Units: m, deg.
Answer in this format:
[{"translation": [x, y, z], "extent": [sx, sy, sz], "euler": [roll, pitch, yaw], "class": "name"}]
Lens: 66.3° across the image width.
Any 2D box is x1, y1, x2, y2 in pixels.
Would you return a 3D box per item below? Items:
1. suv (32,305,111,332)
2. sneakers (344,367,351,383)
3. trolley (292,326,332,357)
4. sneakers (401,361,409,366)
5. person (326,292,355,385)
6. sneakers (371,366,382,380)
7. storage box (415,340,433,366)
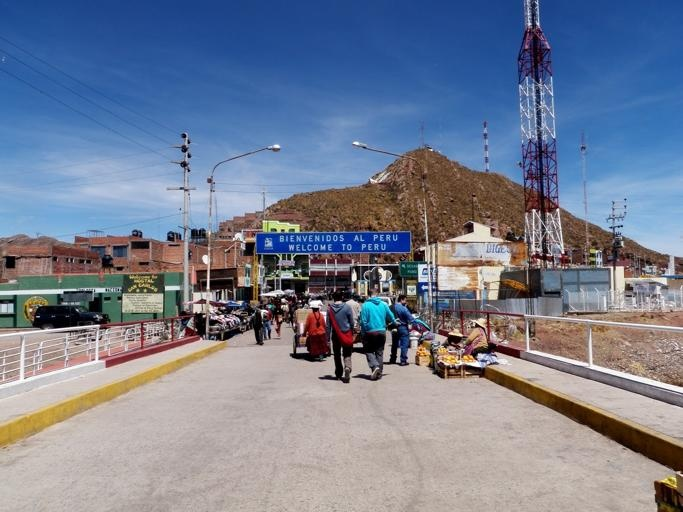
[{"translation": [-20.968, 4.733, 40.480], "extent": [5.618, 1.777, 2.655], "euler": [-2, -2, 25], "class": "suv"}, {"translation": [0.105, 2.919, 12.614], "extent": [0.137, 0.352, 0.281], "euler": [-1, -1, -2], "class": "sneakers"}, {"translation": [-1.009, 2.870, 17.132], "extent": [1.102, 1.151, 1.671], "euler": [1, -13, -7], "class": "trolley"}, {"translation": [1.842, 3.238, 15.637], "extent": [0.172, 0.081, 0.236], "euler": [1, -4, 6], "class": "sneakers"}, {"translation": [-0.042, 2.011, 12.814], "extent": [0.638, 2.253, 1.065], "euler": [-1, -1, -2], "class": "person"}, {"translation": [0.858, 2.949, 12.999], "extent": [0.170, 0.422, 0.180], "euler": [14, 16, -24], "class": "sneakers"}, {"translation": [2.425, 2.937, 15.700], "extent": [0.508, 0.593, 0.911], "euler": [1, -5, 1], "class": "storage box"}]
